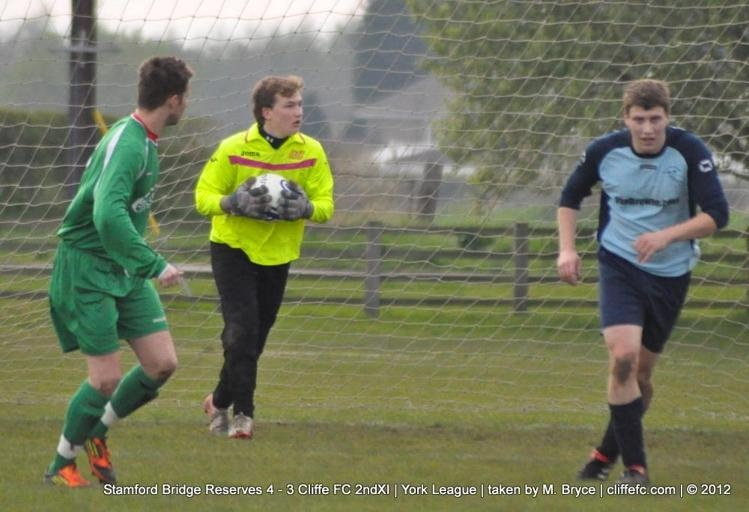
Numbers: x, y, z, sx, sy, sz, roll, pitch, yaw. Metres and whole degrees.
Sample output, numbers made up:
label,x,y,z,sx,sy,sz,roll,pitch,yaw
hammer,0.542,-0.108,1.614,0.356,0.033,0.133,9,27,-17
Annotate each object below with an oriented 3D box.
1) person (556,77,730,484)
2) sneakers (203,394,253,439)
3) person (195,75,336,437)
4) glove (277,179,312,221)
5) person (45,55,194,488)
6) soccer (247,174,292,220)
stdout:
label,x,y,z,sx,sy,sz,roll,pitch,yaw
person,1.896,0.160,12.068,0.899,2.884,1.106,-3,11,-36
sneakers,-1.156,1.270,12.747,0.197,0.188,0.546,3,2,-38
person,-0.872,-0.014,12.702,0.912,2.747,0.632,-2,11,-30
glove,-0.595,-0.410,12.480,0.288,0.172,0.319,-2,3,2
person,-1.844,0.084,11.863,1.000,3.038,0.685,0,10,-19
soccer,-0.762,-0.457,12.450,0.409,0.341,0.349,-3,12,-21
